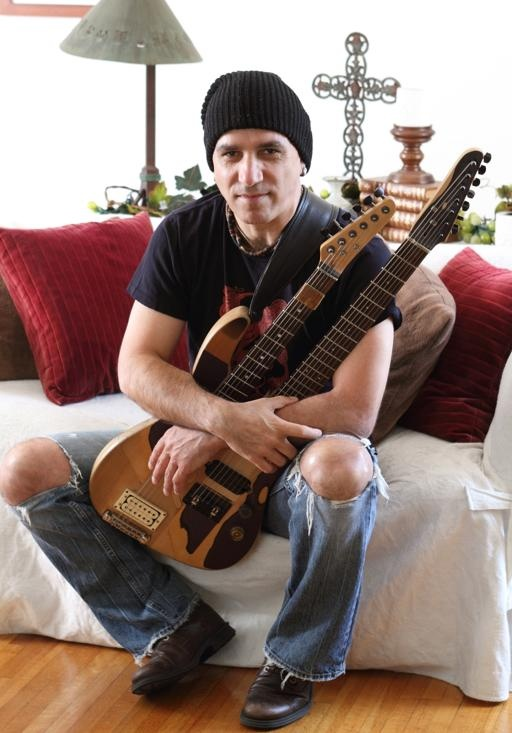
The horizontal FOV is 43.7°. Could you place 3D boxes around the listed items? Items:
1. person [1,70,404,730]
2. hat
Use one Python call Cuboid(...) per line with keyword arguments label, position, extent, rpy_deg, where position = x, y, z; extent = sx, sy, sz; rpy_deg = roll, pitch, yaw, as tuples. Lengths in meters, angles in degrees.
Cuboid(label="person", position=(-0.087, 0.025, 1.099), extent=(0.629, 1.039, 0.414), rpy_deg=(4, 10, 14))
Cuboid(label="hat", position=(0.002, -0.423, 1.094), extent=(0.196, 0.154, 0.173), rpy_deg=(1, 9, -2))
